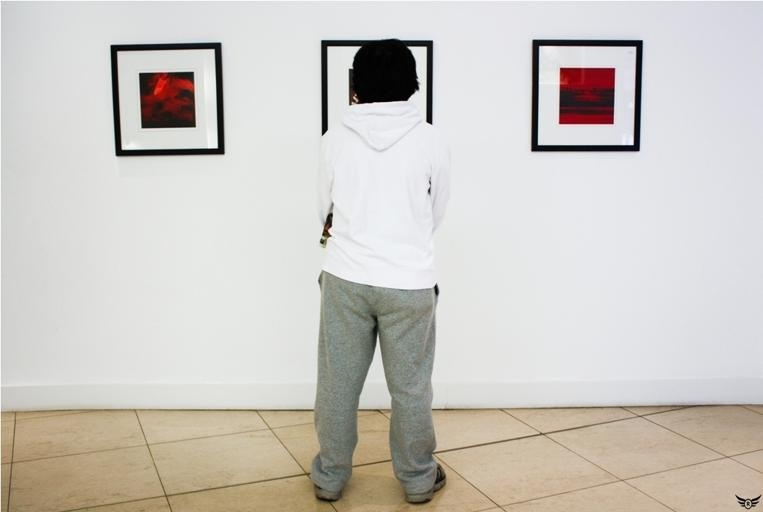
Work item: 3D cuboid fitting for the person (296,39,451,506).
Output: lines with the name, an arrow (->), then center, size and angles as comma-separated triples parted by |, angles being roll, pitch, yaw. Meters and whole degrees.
person -> 0.012, 0.114, 3.200 | 0.708, 2.325, 0.417 | 2, 14, 6

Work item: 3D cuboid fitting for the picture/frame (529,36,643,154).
picture/frame -> 1.302, -1.074, 4.083 | 0.750, 0.722, 0.029 | -1, 8, 1

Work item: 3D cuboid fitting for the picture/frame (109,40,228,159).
picture/frame -> -1.362, -1.037, 4.063 | 0.732, 0.715, 0.049 | -1, 7, 0

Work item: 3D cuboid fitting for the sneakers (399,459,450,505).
sneakers -> 0.247, 1.202, 3.420 | 0.110, 0.134, 0.300 | 3, 11, 21
